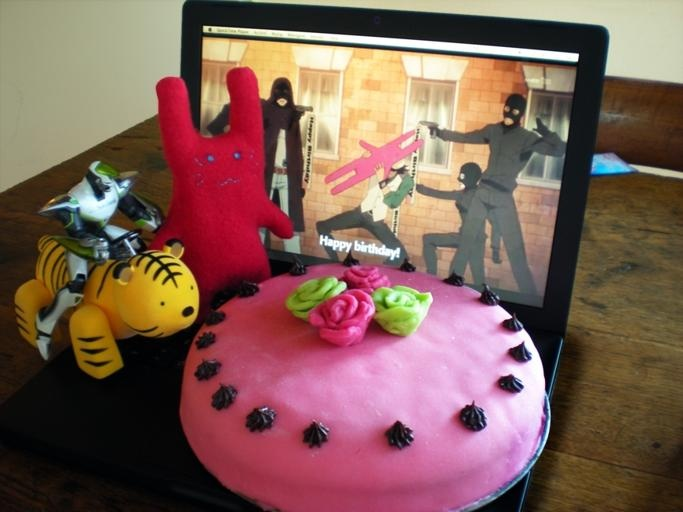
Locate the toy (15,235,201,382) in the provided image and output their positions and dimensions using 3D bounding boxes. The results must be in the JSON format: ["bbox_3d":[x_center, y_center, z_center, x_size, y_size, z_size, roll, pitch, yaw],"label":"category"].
[{"bbox_3d":[-0.343,0.056,0.813,0.273,0.171,0.171,17,27,18],"label":"toy"}]
